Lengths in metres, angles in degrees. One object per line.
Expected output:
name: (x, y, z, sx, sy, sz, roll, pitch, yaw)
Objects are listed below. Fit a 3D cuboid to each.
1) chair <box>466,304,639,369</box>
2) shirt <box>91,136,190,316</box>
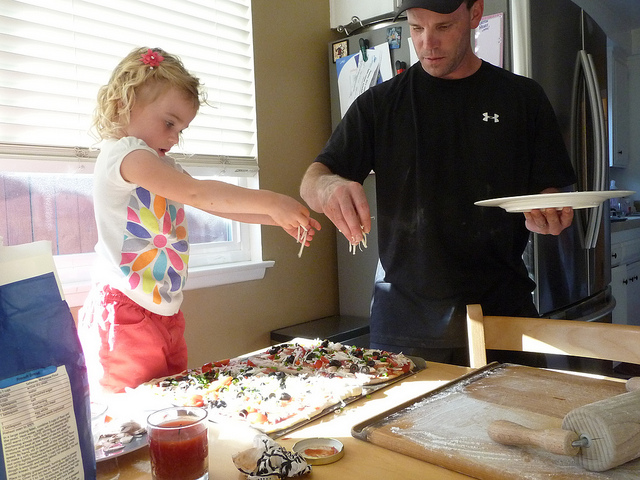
chair: (0.560, 0.248, 1.288, 0.379, 0.153, 0.106, 2, 11, 19)
shirt: (-0.538, -0.025, 1.570, 0.295, 0.560, 0.251, -7, 11, -24)
